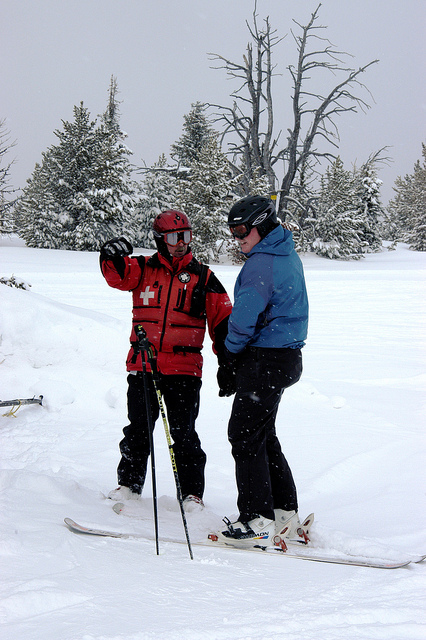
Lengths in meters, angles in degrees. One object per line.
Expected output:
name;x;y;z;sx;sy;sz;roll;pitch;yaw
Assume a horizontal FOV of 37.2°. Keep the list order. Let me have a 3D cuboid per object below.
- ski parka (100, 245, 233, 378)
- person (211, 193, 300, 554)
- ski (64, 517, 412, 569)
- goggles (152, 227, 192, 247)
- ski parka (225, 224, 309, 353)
ski parka;-0.242;-0.074;4.148;0.583;1.223;0.437;-1;7;-6
person;0.267;0.261;3.374;0.433;1.846;0.526;3;-4;18
ski;0.104;1.101;3.101;2.230;0.107;0.223;2;-13;15
goggles;-0.264;-0.544;4.030;0.147;0.073;0.185;-7;13;-30
ski parka;0.293;-0.166;3.268;0.405;0.683;0.224;5;-4;2
